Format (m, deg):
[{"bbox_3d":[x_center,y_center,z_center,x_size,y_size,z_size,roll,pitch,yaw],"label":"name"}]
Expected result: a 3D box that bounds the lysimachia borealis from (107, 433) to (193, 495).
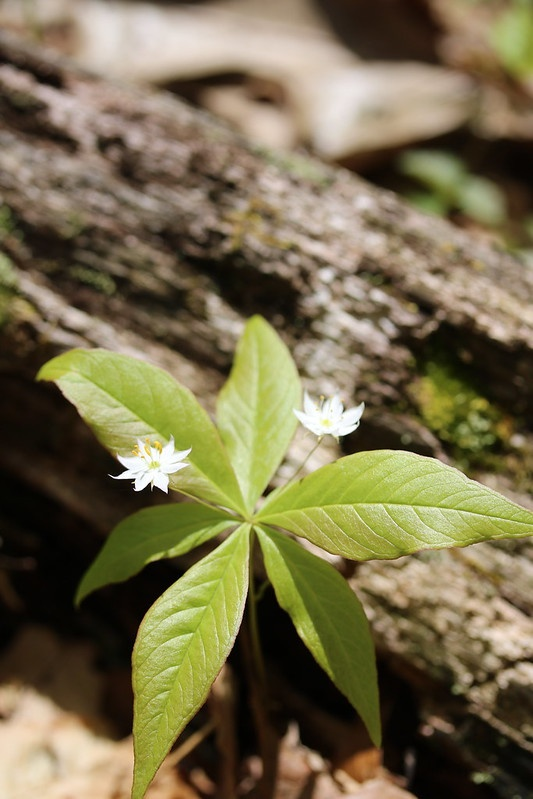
[{"bbox_3d":[-0.303,0.148,2.037,0.230,0.075,0.209,-8,15,-8],"label":"lysimachia borealis"}]
